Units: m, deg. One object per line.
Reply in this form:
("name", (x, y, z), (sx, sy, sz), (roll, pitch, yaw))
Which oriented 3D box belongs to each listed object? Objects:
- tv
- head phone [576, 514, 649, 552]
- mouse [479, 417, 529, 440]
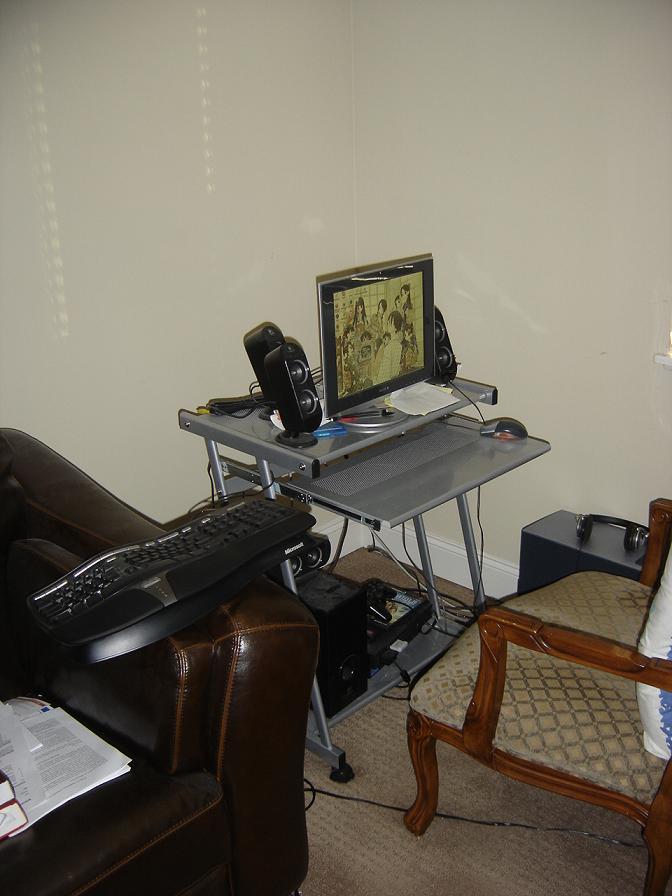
("tv", (0.118, -0.277, 1.990), (0.047, 0.394, 0.471), (21, 34, 40))
("head phone", (0.833, 0.229, 2.167), (0.256, 0.091, 0.250), (9, 3, 28))
("mouse", (0.499, -0.056, 2.118), (0.103, 0.036, 0.072), (9, 16, -8))
